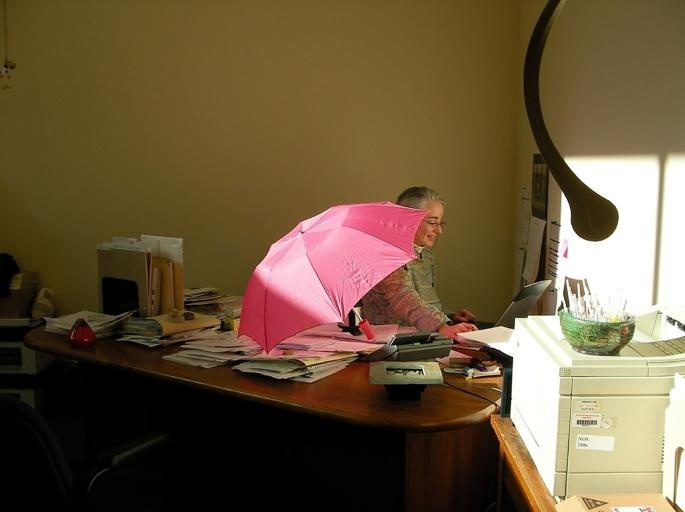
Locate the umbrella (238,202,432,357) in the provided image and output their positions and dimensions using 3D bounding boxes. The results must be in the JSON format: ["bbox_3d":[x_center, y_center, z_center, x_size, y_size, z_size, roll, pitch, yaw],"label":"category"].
[{"bbox_3d":[-0.037,0.067,2.285,0.819,0.622,0.472,-1,2,-13],"label":"umbrella"}]

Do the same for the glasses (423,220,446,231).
[{"bbox_3d":[0.546,-0.181,3.113,0.100,0.035,0.111,1,-26,-3],"label":"glasses"}]

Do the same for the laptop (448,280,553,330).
[{"bbox_3d":[0.840,0.240,2.766,0.407,0.308,0.441,8,7,41],"label":"laptop"}]

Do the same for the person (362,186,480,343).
[{"bbox_3d":[0.512,0.098,3.209,0.670,1.310,0.860,-1,11,14],"label":"person"}]

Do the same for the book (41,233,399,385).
[{"bbox_3d":[-0.805,0.312,2.701,1.138,0.383,0.879,7,11,34],"label":"book"}]

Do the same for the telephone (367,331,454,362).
[{"bbox_3d":[0.282,0.373,2.139,0.210,0.056,0.163,-5,5,-5],"label":"telephone"}]
